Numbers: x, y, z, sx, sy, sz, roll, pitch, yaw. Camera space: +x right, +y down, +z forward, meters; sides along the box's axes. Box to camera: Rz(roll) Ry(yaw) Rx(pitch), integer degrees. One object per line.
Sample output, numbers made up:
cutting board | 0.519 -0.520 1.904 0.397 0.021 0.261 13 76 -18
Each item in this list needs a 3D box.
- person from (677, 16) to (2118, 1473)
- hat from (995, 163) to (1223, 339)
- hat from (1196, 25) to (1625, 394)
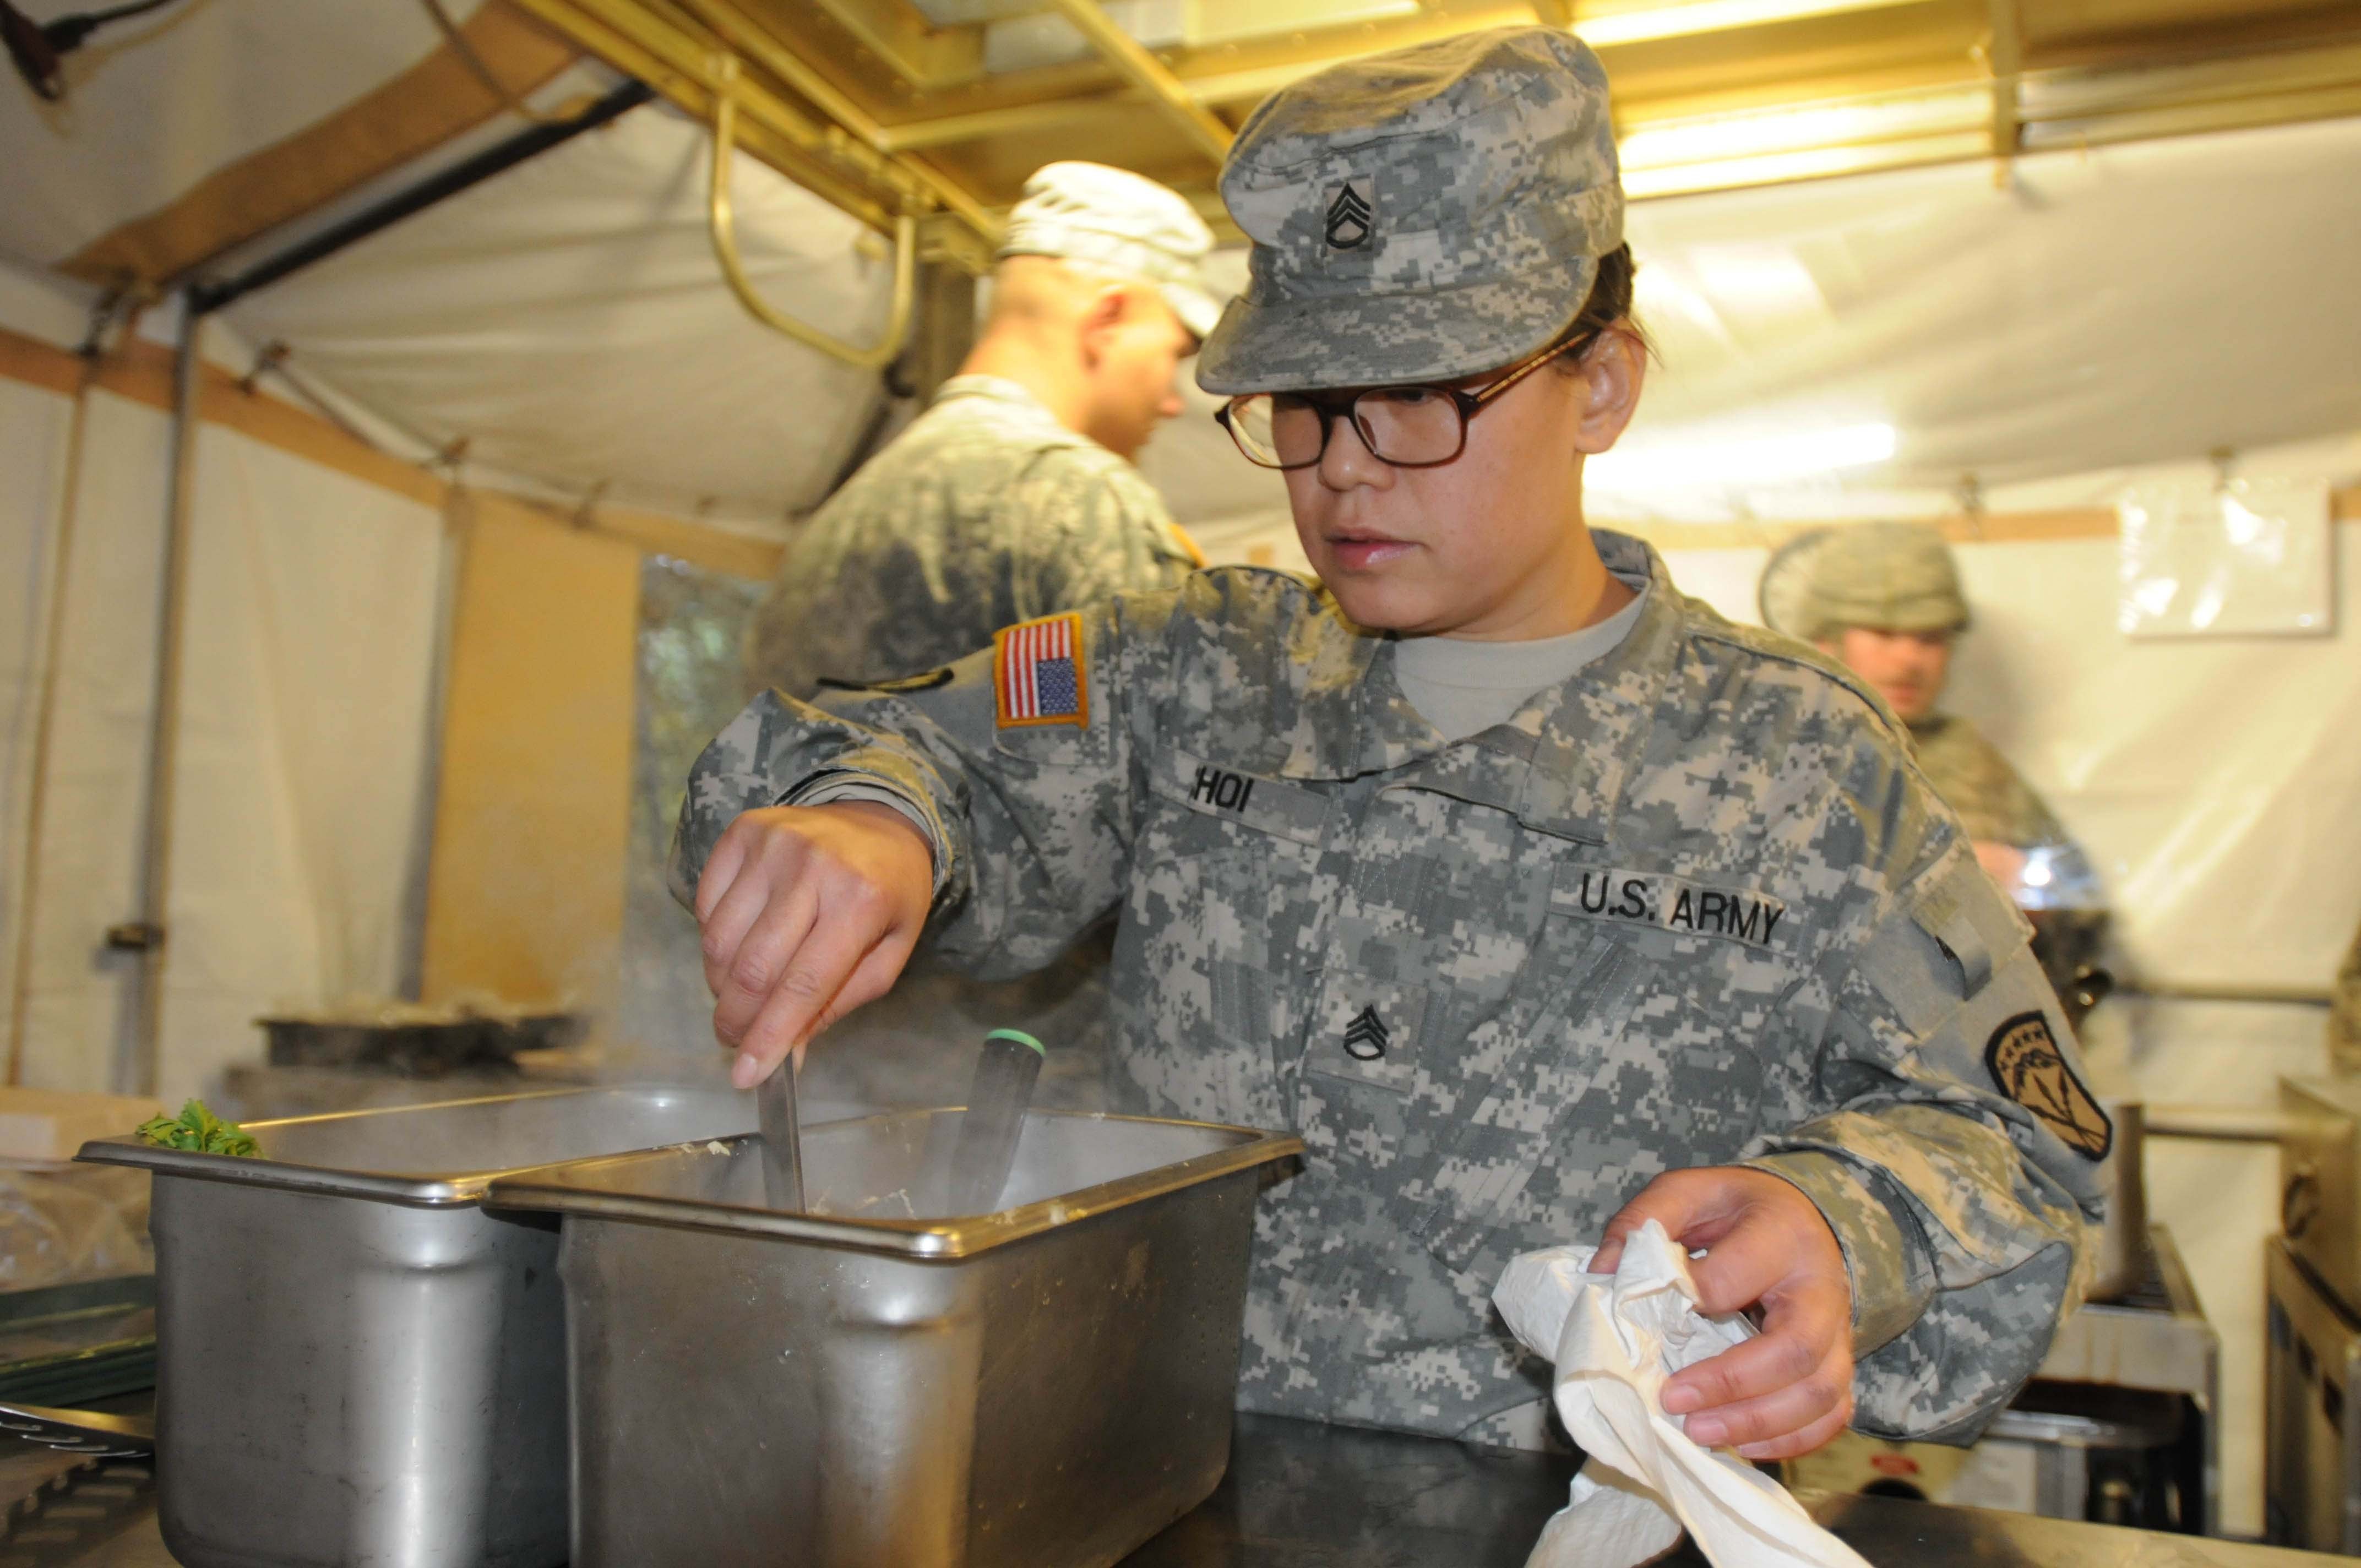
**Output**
person | 0.250 -0.056 1.942 1.299 1.433 0.595 1 -3 7
hat | -0.115 -0.852 3.196 0.417 0.213 0.294 19 -2 -10
hat | 0.254 -0.568 1.964 0.314 0.204 0.433 1 26 37
